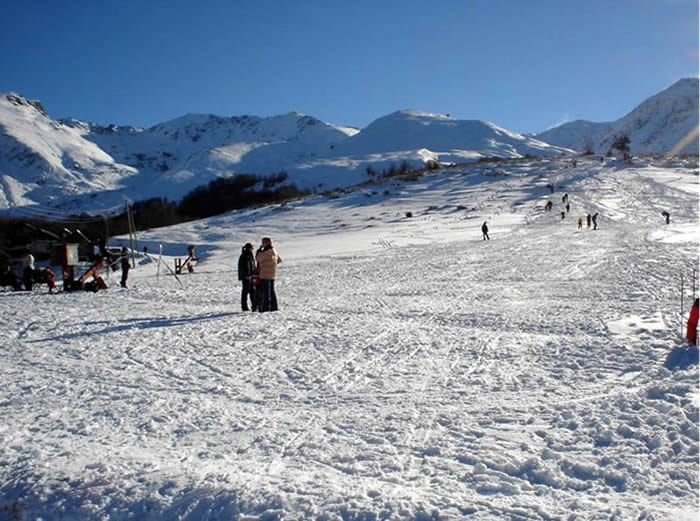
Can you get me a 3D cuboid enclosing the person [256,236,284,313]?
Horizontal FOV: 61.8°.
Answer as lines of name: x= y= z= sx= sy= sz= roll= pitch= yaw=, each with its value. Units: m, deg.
person: x=-2.124 y=0.382 z=15.446 sx=0.628 sy=1.981 sz=0.590 roll=-2 pitch=9 yaw=-6
